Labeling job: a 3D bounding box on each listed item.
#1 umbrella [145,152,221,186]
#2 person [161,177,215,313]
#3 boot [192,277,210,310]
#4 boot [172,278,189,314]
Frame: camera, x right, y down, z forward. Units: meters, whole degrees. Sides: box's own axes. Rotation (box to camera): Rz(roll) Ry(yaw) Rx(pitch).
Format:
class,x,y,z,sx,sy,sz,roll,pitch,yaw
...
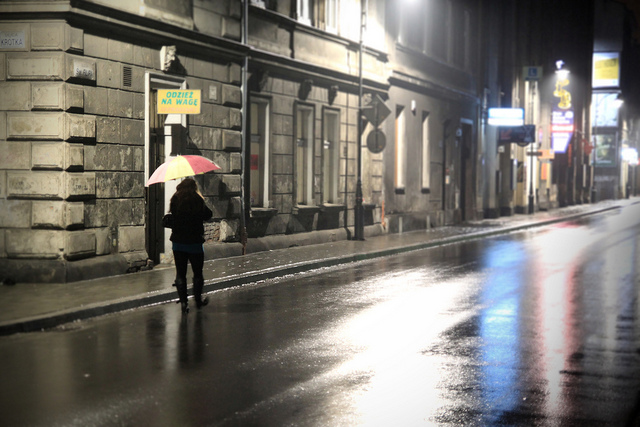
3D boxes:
class,x,y,z,sx,sy,sz,roll,pitch,yaw
umbrella,-3.085,-1.025,15.486,1.033,0.585,1.101,-1,3,24
person,-2.591,0.620,13.570,0.852,2.633,0.498,-2,2,-15
boot,-2.407,1.596,13.838,0.280,0.633,0.318,-2,2,-13
boot,-2.708,1.609,13.510,0.246,0.666,0.499,-2,2,-13
